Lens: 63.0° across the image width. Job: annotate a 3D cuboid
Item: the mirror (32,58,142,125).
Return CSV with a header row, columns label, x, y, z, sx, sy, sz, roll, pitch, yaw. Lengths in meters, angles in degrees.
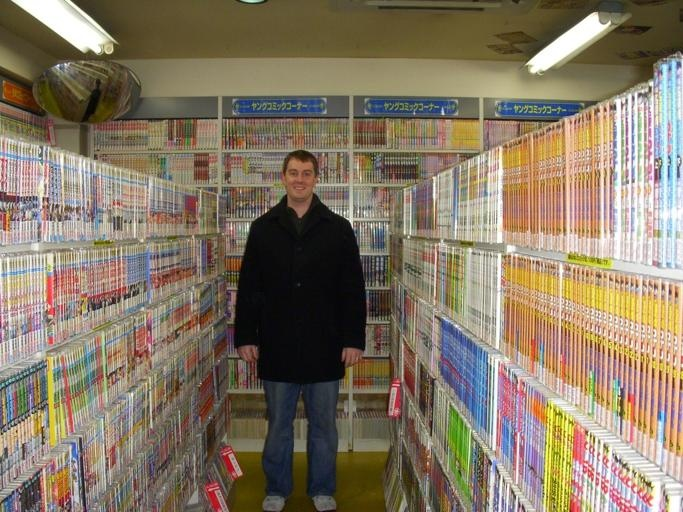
label,x,y,z,sx,sy,sz,roll,pitch,yaw
mirror,-1.406,-0.897,3.059,0.397,0.144,0.430,-7,-34,-15
